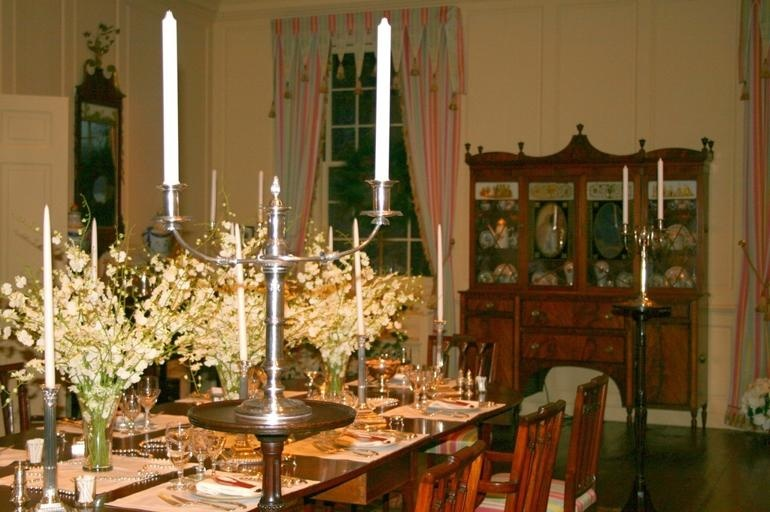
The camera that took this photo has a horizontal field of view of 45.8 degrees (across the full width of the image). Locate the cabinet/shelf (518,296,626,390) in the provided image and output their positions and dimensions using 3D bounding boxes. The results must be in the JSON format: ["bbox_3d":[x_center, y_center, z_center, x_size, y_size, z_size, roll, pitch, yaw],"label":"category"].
[{"bbox_3d":[1.747,0.773,8.575,0.850,0.858,0.370,-1,-4,17],"label":"cabinet/shelf"}]

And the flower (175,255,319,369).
[{"bbox_3d":[-0.852,0.386,5.251,0.644,0.799,0.674,-1,-9,33],"label":"flower"}]

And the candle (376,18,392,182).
[{"bbox_3d":[-0.015,-0.681,4.040,0.088,0.705,0.193,-2,-2,0],"label":"candle"}]

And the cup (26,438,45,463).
[{"bbox_3d":[-1.784,1.002,4.659,0.074,0.127,0.120,-2,-3,-21],"label":"cup"}]

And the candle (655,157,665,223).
[{"bbox_3d":[1.982,-0.479,6.590,0.076,0.385,0.079,0,7,18],"label":"candle"}]

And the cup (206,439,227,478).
[{"bbox_3d":[-0.885,1.027,4.788,0.086,0.198,0.360,-2,-4,-11],"label":"cup"}]

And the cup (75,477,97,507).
[{"bbox_3d":[-1.450,1.133,4.427,0.089,0.153,0.180,-2,-4,-18],"label":"cup"}]

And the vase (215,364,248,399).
[{"bbox_3d":[-0.886,0.704,5.182,0.198,0.227,0.201,-1,0,0],"label":"vase"}]

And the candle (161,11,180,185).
[{"bbox_3d":[-0.929,-0.681,3.924,0.068,0.758,0.124,-2,-2,-14],"label":"candle"}]

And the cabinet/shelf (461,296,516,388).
[{"bbox_3d":[1.053,0.858,9.164,0.609,1.152,0.418,3,17,13],"label":"cabinet/shelf"}]

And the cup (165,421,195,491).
[{"bbox_3d":[-1.054,1.017,4.669,0.130,0.323,0.264,-2,-3,-16],"label":"cup"}]
